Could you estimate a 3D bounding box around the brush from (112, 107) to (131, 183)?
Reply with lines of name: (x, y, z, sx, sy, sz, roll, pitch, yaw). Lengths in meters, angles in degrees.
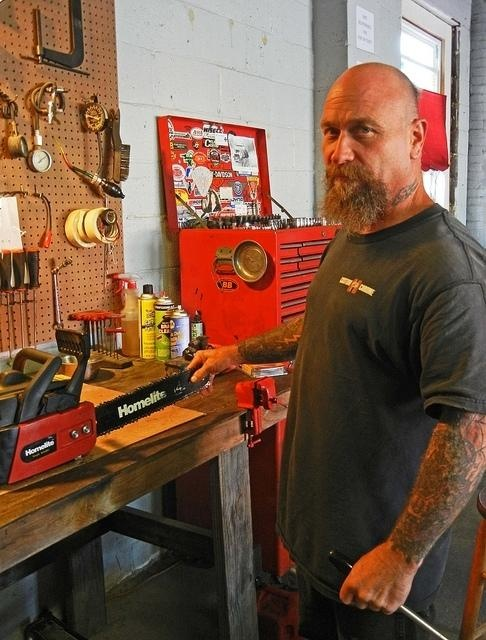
brush: (-0.426, -0.615, 1.940, 0.057, 0.249, 0.082, 4, 11, -3)

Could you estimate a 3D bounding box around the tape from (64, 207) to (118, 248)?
tape: (-0.481, -0.315, 1.890, 0.118, 0.141, 0.229, 10, 12, 25)
